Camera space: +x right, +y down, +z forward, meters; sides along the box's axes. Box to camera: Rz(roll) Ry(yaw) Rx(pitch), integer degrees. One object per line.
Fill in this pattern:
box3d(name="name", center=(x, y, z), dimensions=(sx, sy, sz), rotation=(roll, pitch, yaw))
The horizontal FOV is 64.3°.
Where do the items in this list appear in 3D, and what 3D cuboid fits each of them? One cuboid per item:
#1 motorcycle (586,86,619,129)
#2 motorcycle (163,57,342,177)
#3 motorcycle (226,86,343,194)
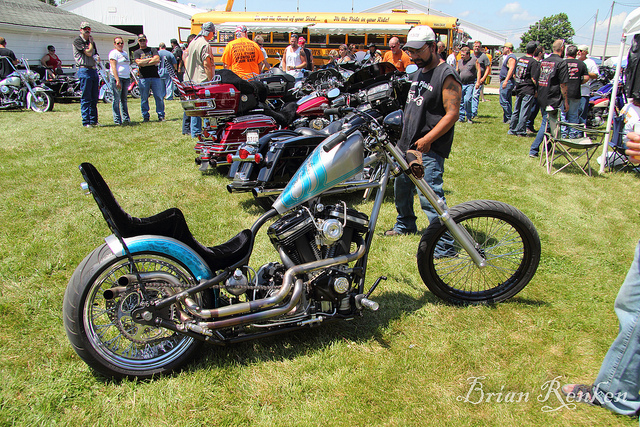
box3d(name="motorcycle", center=(8.124, -3.132, 14.884), dimensions=(0.531, 0.983, 1.502), rotation=(13, 25, 26))
box3d(name="motorcycle", center=(-1.290, -1.913, 9.591), dimensions=(3.108, 1.906, 1.499), rotation=(-18, 26, -27))
box3d(name="motorcycle", center=(-0.358, -1.582, 8.924), dimensions=(2.572, 1.527, 1.038), rotation=(-27, 26, -30))
